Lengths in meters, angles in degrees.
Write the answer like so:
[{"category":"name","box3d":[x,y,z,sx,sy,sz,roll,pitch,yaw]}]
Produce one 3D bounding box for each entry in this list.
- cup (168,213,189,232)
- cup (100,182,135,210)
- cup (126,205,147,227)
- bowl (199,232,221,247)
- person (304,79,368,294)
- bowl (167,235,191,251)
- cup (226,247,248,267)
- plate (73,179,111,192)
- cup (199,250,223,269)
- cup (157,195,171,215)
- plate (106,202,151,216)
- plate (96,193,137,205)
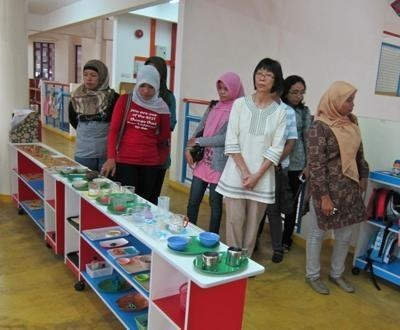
[{"category":"cup","box3d":[-0.130,0.343,1.931,0.112,0.086,0.075,-1,4,-37]},{"category":"cup","box3d":[-0.568,0.222,2.211,0.172,0.084,0.198,-1,30,-25]},{"category":"cup","box3d":[-0.389,0.314,1.999,0.080,0.090,0.120,10,12,41]},{"category":"bowl","box3d":[0.047,0.390,1.762,0.077,0.038,0.078,7,12,-2]},{"category":"person","box3d":[1.163,0.208,2.728,0.573,1.774,0.469,4,11,8]},{"category":"bowl","box3d":[-0.115,0.402,1.740,0.124,0.045,0.210,3,12,-1]},{"category":"cup","box3d":[0.193,0.462,1.627,0.102,0.078,0.062,1,6,-23]},{"category":"plate","box3d":[-0.856,0.147,2.498,0.194,0.045,0.144,-1,5,-10]},{"category":"cup","box3d":[0.052,0.453,1.536,0.073,0.056,0.057,1,3,-17]},{"category":"cup","box3d":[-0.230,0.267,2.217,0.078,0.123,0.121,-1,8,-22]},{"category":"plate","box3d":[-0.467,0.283,2.063,0.183,0.053,0.116,6,-3,3]},{"category":"plate","box3d":[-0.572,0.225,2.213,0.169,0.066,0.129,1,4,-19]}]
